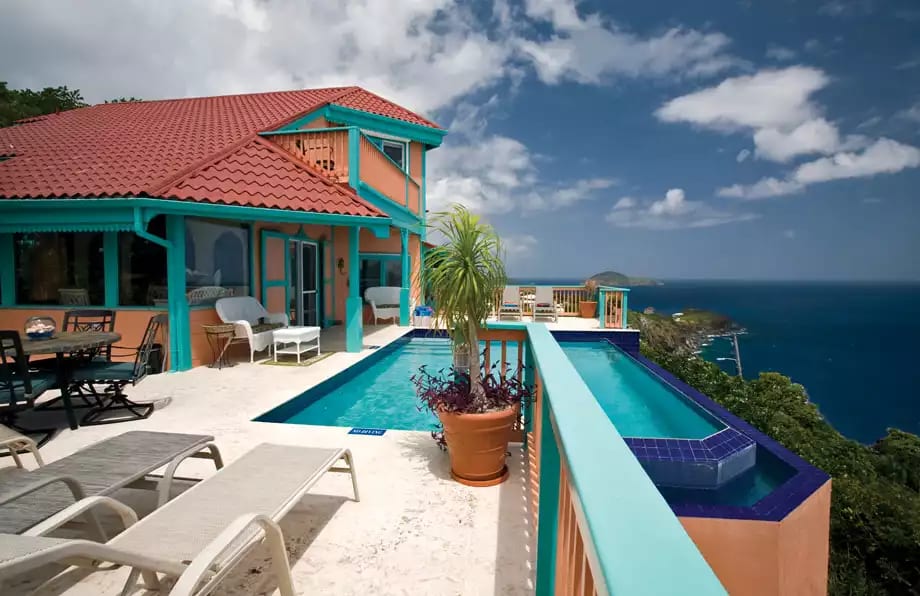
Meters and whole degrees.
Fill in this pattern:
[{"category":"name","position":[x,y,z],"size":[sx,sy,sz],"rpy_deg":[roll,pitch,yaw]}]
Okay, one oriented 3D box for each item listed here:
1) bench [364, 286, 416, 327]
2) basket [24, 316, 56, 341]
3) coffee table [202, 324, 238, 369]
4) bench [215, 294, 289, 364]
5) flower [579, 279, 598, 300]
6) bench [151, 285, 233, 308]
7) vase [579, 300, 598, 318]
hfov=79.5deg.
[{"category":"bench","position":[-2.813,0.229,21.649],"size":[1.798,1.450,1.496],"rpy_deg":[-4,0,-1]},{"category":"basket","position":[-9.776,0.710,12.783],"size":[0.549,0.510,0.546],"rpy_deg":[1,-6,-1]},{"category":"coffee table","position":[-6.885,1.331,15.756],"size":[1.117,1.404,1.135],"rpy_deg":[0,2,4]},{"category":"bench","position":[-6.306,1.040,16.919],"size":[1.765,2.377,2.208],"rpy_deg":[2,6,22]},{"category":"flower","position":[5.992,-0.403,25.458],"size":[0.890,1.167,0.897],"rpy_deg":[2,9,19]},{"category":"bench","position":[-7.620,-0.084,15.807],"size":[2.100,0.645,0.509],"rpy_deg":[-4,0,-30]},{"category":"vase","position":[5.813,0.494,24.788],"size":[0.719,0.546,0.716],"rpy_deg":[0,-1,6]}]
